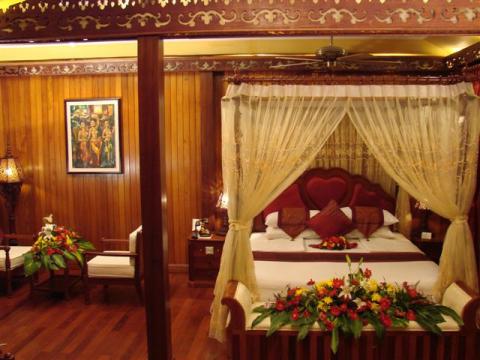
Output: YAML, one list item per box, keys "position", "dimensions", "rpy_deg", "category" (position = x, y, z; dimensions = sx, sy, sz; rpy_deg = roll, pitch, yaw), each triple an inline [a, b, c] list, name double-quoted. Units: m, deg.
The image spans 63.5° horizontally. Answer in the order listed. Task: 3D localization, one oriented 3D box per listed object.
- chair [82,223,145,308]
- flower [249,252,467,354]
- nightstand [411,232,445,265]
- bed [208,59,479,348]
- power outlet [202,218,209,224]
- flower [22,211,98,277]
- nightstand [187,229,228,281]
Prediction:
- position: [-1.800, 1.217, 5.690]
  dimensions: [0.887, 1.069, 0.677]
  rpy_deg: [1, 11, 7]
  category: "chair"
- position: [1.130, 1.338, 3.998]
  dimensions: [1.276, 0.522, 1.276]
  rpy_deg: [-1, 1, -5]
  category: "flower"
- position: [2.909, 1.002, 6.029]
  dimensions: [0.464, 0.462, 0.484]
  rpy_deg: [0, 3, 21]
  category: "nightstand"
- position: [1.311, 0.307, 4.722]
  dimensions: [3.700, 3.747, 0.462]
  rpy_deg: [0, 4, 2]
  category: "bed"
- position: [-0.569, 0.669, 6.297]
  dimensions: [0.055, 0.095, 0.096]
  rpy_deg: [7, 16, 20]
  category: "power outlet"
- position: [-2.608, 0.975, 5.755]
  dimensions: [0.963, 0.720, 0.990]
  rpy_deg: [1, 3, 1]
  category: "flower"
- position: [-0.462, 1.149, 6.335]
  dimensions: [0.785, 0.781, 0.588]
  rpy_deg: [0, 3, 4]
  category: "nightstand"
